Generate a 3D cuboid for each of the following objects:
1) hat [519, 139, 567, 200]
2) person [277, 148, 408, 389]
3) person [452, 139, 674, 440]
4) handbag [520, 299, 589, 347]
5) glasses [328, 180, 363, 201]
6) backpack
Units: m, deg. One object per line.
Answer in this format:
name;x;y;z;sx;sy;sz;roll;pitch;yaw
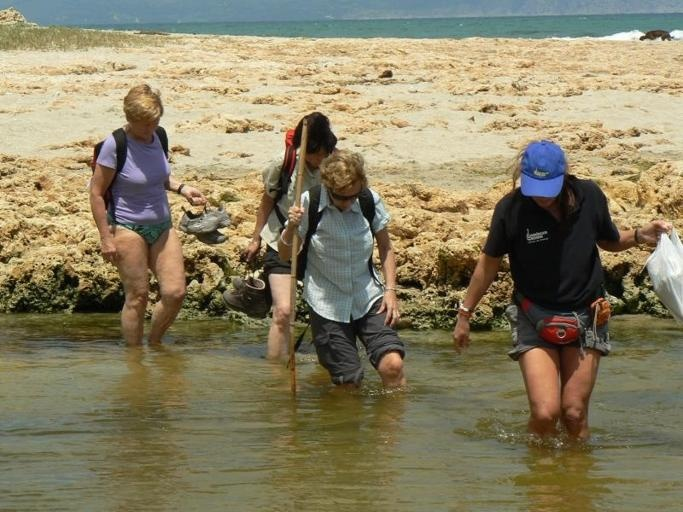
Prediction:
hat;1.221;-0.526;5.131;0.323;0.325;0.146;6;-30;13
person;0.018;0.090;6.125;0.880;1.731;0.529;0;18;-4
person;1.319;0.286;5.400;0.830;1.694;0.836;16;23;39
handbag;1.306;0.425;5.200;0.256;0.107;0.341;4;11;-12
glasses;0.023;-0.444;5.850;0.235;0.149;0.124;1;16;-1
backpack;-1.731;-0.727;6.983;0.631;0.666;0.279;-6;19;-24
